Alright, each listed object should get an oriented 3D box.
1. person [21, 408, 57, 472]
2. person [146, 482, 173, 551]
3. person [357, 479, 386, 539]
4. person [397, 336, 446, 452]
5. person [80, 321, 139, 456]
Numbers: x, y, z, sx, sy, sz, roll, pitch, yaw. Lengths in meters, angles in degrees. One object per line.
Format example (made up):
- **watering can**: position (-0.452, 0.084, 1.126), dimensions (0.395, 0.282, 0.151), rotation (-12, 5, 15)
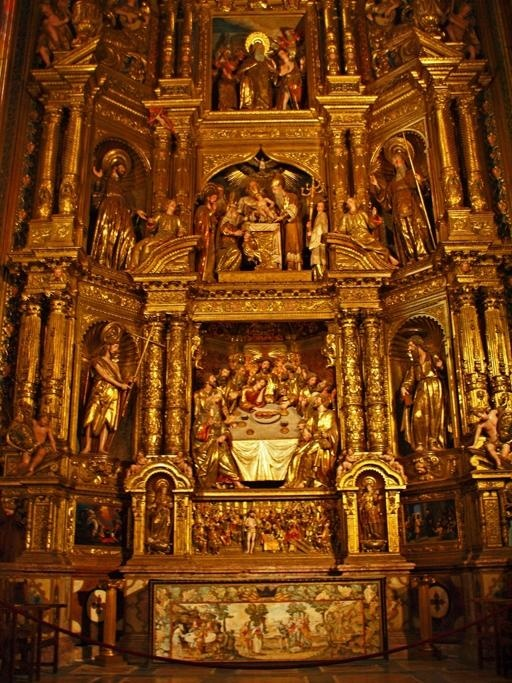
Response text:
- **person**: position (-3.168, 1.500, 12.358), dimensions (0.504, 0.753, 0.425), rotation (-4, 7, -35)
- **person**: position (-1.475, 2.644, 12.942), dimensions (0.419, 1.061, 0.518), rotation (-1, 6, -4)
- **person**: position (1.762, 2.533, 12.867), dimensions (0.412, 0.947, 0.497), rotation (0, 6, 5)
- **person**: position (2.755, 0.874, 13.834), dimensions (0.630, 1.784, 1.087), rotation (0, 6, -1)
- **person**: position (-2.447, 0.730, 14.141), dimensions (0.926, 2.059, 1.525), rotation (-1, 6, -6)
